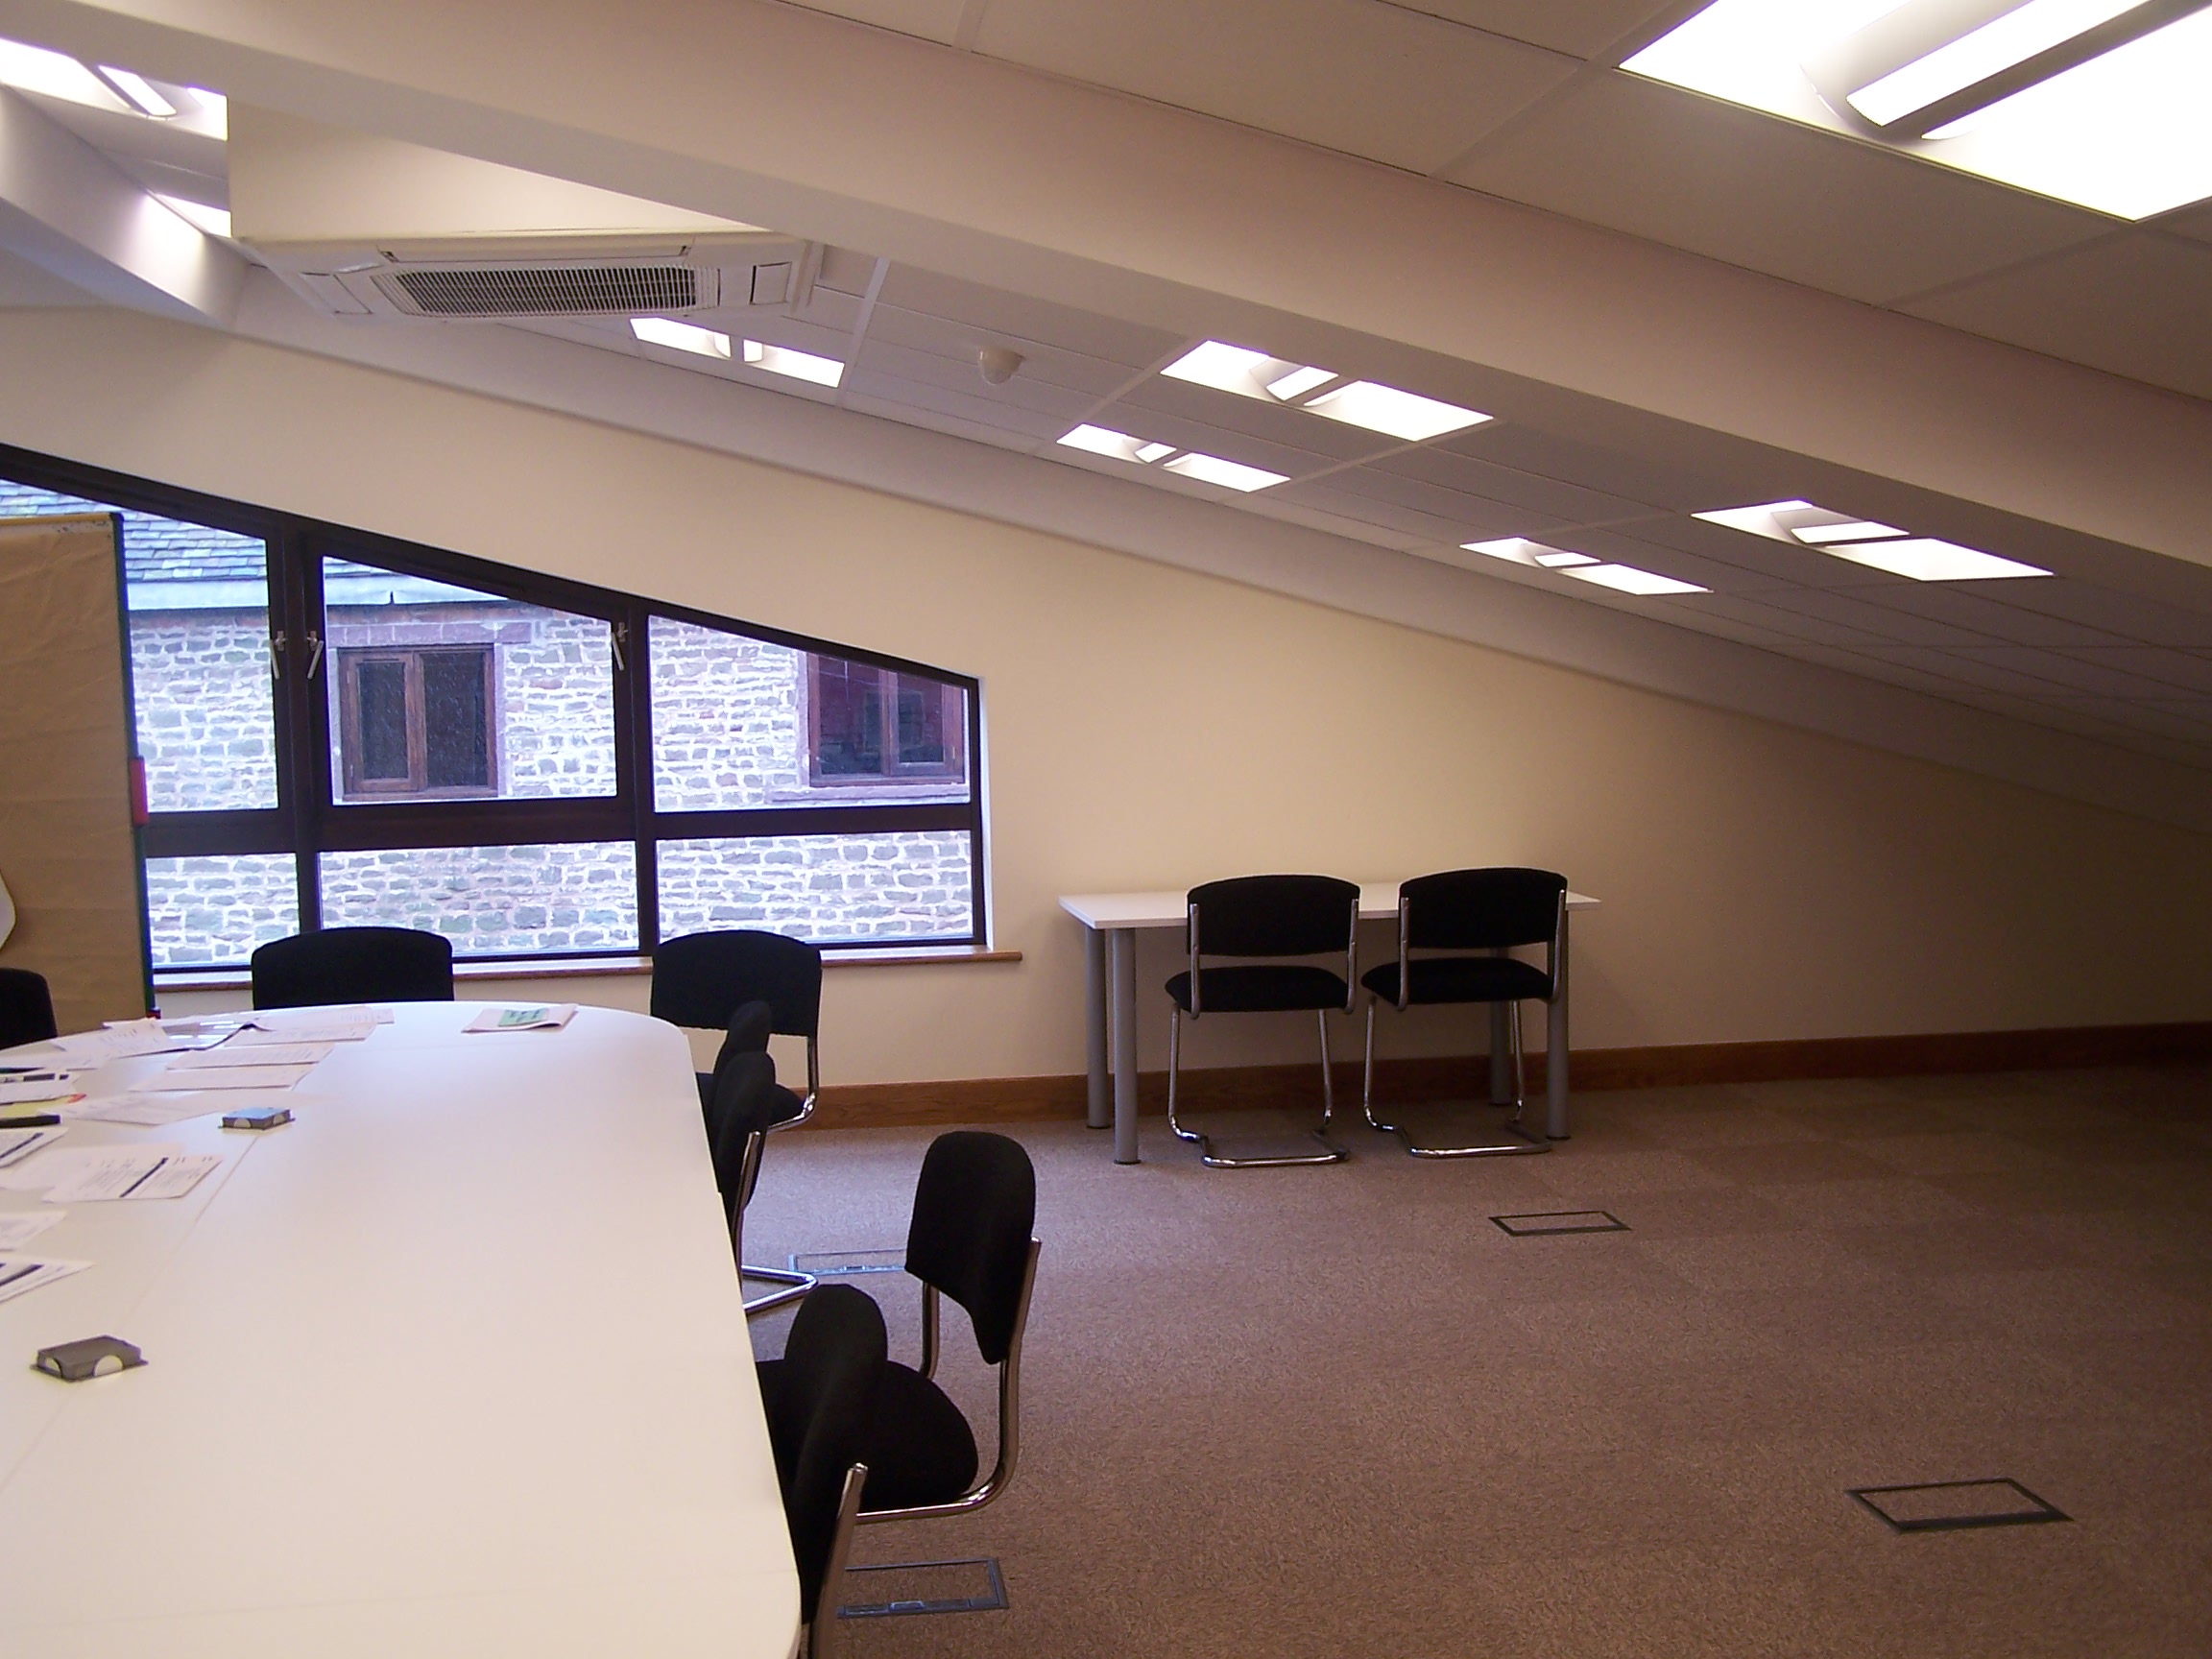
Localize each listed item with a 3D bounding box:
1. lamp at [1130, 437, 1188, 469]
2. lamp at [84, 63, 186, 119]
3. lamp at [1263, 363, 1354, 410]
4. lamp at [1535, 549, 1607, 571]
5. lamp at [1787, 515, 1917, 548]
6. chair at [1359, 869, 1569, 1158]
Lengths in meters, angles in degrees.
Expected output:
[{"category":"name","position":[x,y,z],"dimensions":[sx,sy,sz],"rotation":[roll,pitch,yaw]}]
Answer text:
[{"category":"lamp","position":[0.189,-1.275,5.520],"dimensions":[0.140,0.078,0.285],"rotation":[-2,8,-10]},{"category":"lamp","position":[-2.543,-1.912,4.244],"dimensions":[0.173,0.041,0.407],"rotation":[-3,8,-15]},{"category":"lamp","position":[0.493,-1.124,4.144],"dimensions":[0.130,0.037,0.147],"rotation":[-5,-5,39]},{"category":"lamp","position":[1.614,-0.943,5.709],"dimensions":[0.196,0.065,0.305],"rotation":[2,8,18]},{"category":"lamp","position":[1.893,-0.751,4.113],"dimensions":[0.234,0.057,0.210],"rotation":[4,-2,-8]},{"category":"chair","position":[1.359,0.639,6.265],"dimensions":[0.743,1.049,0.968],"rotation":[1,8,10]}]
